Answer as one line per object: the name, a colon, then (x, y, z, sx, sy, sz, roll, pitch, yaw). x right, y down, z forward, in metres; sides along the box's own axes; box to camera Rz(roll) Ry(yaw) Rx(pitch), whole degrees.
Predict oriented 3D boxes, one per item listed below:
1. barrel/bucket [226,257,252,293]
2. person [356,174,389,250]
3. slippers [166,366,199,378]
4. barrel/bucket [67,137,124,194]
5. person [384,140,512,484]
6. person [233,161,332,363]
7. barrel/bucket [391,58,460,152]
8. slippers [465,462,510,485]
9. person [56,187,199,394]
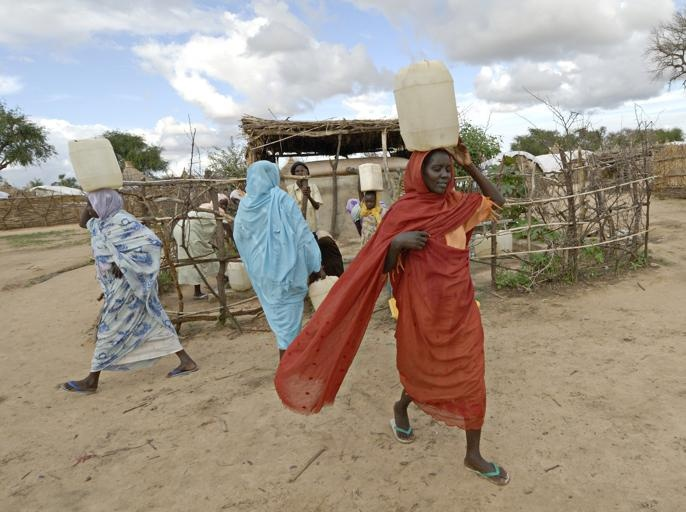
barrel/bucket: (-1.601, 0.284, 7.121, 0.436, 0.416, 0.438, -2, 17, 1)
person: (0.412, -0.768, 6.880, 0.421, 1.184, 0.762, -7, 11, 2)
slippers: (-1.758, 1.256, 5.083, 0.338, 0.118, 0.122, 1, -6, -10)
barrel/bucket: (-2.604, -0.965, 4.882, 0.431, 0.556, 0.299, -13, 12, -26)
person: (0.734, 0.458, 3.518, 0.787, 2.477, 0.541, -5, 11, 11)
person: (-0.591, 0.002, 4.370, 0.567, 1.795, 0.602, -17, 14, -39)
barrel/bucket: (0.616, -1.096, 3.419, 0.439, 0.638, 0.195, -5, 11, 12)
slippers: (1.103, 1.621, 3.496, 0.254, 0.067, 0.143, 3, 10, 38)
person: (-2.326, 0.324, 4.927, 1.088, 2.078, 0.449, -11, 12, -19)
